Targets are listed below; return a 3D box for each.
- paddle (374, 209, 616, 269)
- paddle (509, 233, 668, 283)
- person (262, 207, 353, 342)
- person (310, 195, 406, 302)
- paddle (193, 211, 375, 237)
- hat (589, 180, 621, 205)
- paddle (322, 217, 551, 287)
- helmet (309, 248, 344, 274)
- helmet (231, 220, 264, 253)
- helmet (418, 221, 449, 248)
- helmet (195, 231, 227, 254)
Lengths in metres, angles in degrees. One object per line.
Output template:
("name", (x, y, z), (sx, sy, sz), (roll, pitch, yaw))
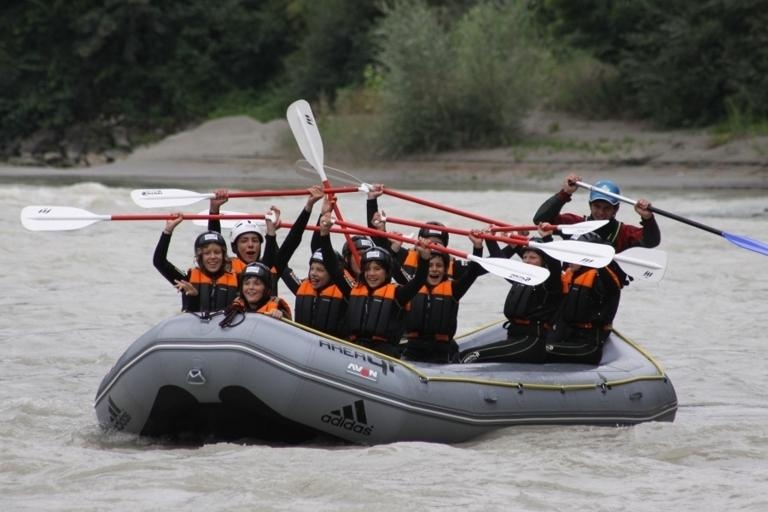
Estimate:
("paddle", (1.852, -0.299, 23.806), (4.436, 0.461, 0.181), (8, -8, -31))
("paddle", (3.550, -0.004, 24.678), (2.729, 0.134, 0.662), (14, 19, -34))
("person", (-1.218, 0.368, 24.757), (1.684, 2.254, 0.859), (-3, -7, 8))
("person", (-0.412, -0.083, 24.648), (1.428, 1.464, 0.701), (4, 6, 6))
("paddle", (-1.714, -0.527, 26.055), (3.636, 0.141, 0.692), (3, 32, -8))
("hat", (3.646, -1.048, 25.485), (0.460, 0.267, 0.541), (10, 29, 8))
("paddle", (0.853, -0.032, 25.221), (4.421, 0.360, 0.526), (11, 31, 15))
("helmet", (-0.910, 0.023, 24.457), (0.369, 0.376, 0.379), (15, 67, 6))
("helmet", (-2.224, -0.367, 24.963), (0.500, 0.550, 0.429), (7, 41, -13))
("helmet", (0.825, -0.364, 25.326), (0.431, 0.397, 0.417), (4, -1, 6))
("helmet", (-2.700, -0.256, 24.325), (0.472, 0.295, 0.334), (2, 31, -7))
